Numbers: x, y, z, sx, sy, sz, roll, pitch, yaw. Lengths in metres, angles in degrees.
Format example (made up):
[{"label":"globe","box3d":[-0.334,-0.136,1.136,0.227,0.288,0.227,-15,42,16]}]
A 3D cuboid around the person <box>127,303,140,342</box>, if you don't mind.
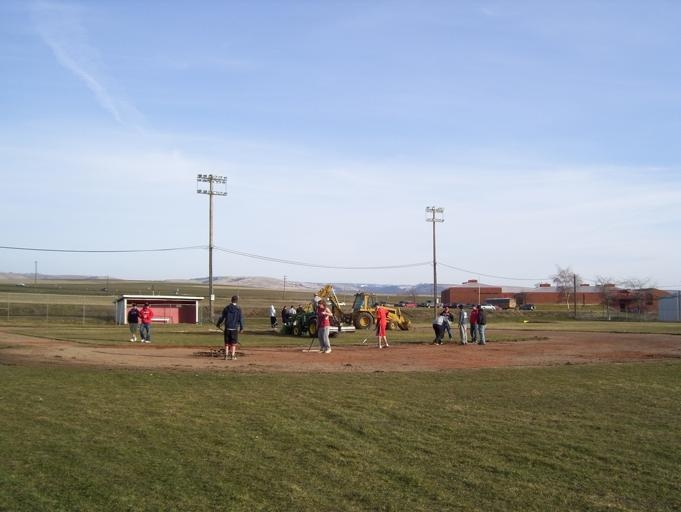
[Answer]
[{"label":"person","box3d":[-8.021,2.551,32.721,0.428,1.313,2.056,2,-1,-13]}]
